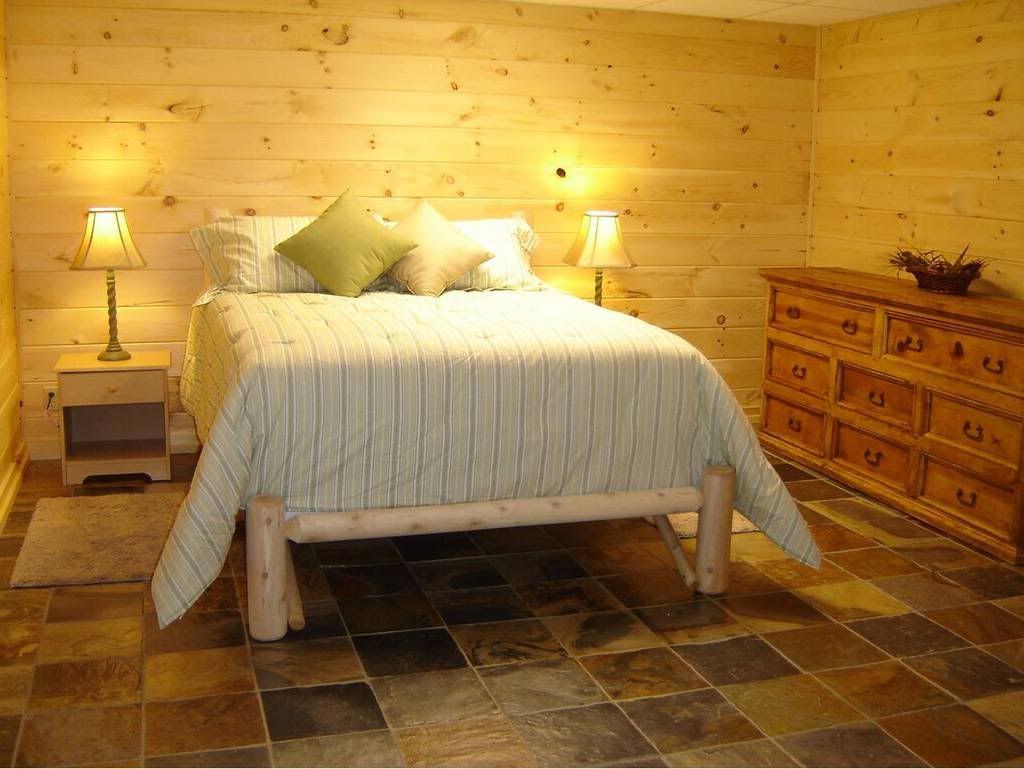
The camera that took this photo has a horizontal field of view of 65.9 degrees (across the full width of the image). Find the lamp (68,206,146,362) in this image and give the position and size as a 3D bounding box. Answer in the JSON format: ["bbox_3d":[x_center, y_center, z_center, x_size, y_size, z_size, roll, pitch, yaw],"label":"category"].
[{"bbox_3d":[-2.081,-0.525,4.090,0.326,0.770,0.461,-8,21,-24],"label":"lamp"}]

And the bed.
[{"bbox_3d":[-0.447,-0.010,3.475,2.518,0.892,2.302,-2,10,-17],"label":"bed"}]

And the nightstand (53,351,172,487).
[{"bbox_3d":[-2.068,0.150,4.128,0.565,0.607,0.626,-6,18,-20],"label":"nightstand"}]
